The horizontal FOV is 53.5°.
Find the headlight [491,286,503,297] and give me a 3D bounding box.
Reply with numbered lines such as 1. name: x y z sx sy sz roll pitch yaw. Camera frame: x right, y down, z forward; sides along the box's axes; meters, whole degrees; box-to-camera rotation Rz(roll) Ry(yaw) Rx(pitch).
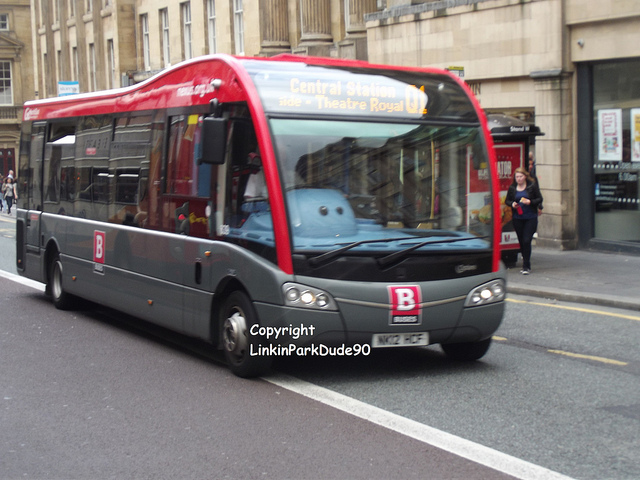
1. headlight: 1.892 0.552 6.784 0.111 0.108 0.089 5 -9 -36

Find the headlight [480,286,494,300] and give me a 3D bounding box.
1. headlight: 1.752 0.565 6.699 0.118 0.132 0.028 -16 9 -30

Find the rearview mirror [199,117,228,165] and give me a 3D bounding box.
1. rearview mirror: -1.096 -1.005 6.474 0.266 0.452 0.225 -1 3 -6

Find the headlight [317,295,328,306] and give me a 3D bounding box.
1. headlight: 0.022 0.588 6.145 0.091 0.069 0.083 -7 4 -34

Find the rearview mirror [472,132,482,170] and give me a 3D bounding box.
1. rearview mirror: 1.724 -0.972 6.994 0.151 0.389 0.066 -3 4 -39

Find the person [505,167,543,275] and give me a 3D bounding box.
1. person: 4.329 -0.410 13.467 0.613 2.251 0.679 -2 3 -25

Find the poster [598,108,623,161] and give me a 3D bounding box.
1. poster: 7.465 -2.689 16.333 0.068 1.319 0.698 -3 4 -30
